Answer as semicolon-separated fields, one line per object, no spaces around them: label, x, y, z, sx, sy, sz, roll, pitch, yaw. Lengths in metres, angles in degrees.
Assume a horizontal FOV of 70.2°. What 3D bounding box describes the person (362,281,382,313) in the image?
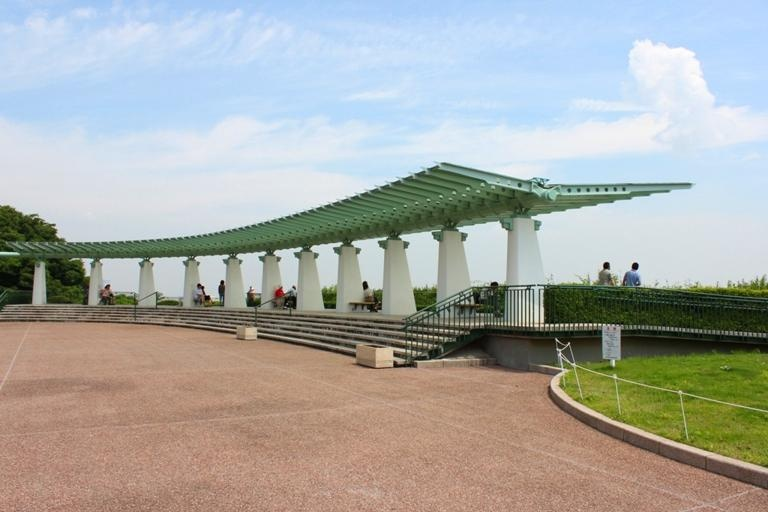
person;-0.720;2.122;27.468;0.875;1.428;2.101;0;4;-2

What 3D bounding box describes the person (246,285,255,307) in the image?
person;-8.597;2.644;35.071;0.397;1.310;3.019;-1;4;-18

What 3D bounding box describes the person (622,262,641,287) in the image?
person;7.692;0.589;17.206;0.477;0.821;2.310;2;4;24

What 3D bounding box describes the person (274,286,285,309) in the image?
person;-6.395;2.478;33.099;0.544;1.163;1.103;-1;4;-12
